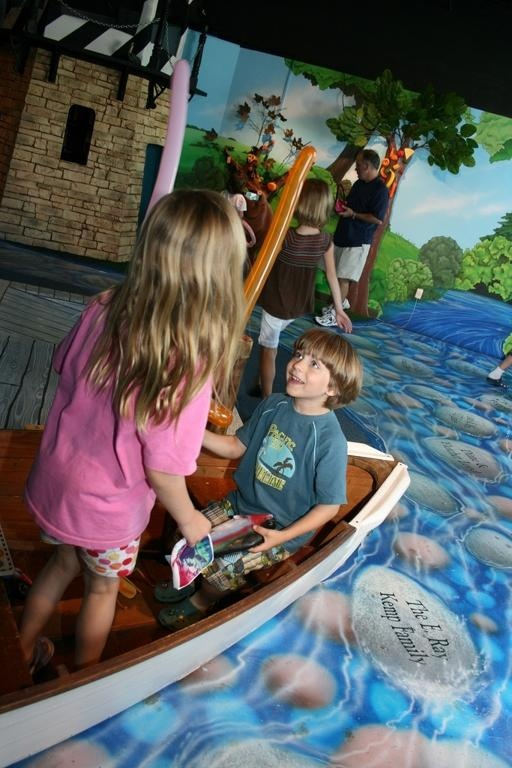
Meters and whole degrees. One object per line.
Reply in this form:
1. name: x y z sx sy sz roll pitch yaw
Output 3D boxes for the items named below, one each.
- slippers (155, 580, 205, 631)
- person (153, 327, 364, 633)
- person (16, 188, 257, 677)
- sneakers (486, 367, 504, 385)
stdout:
1. slippers: -0.226 0.647 1.483 0.072 0.040 0.125 28 18 -5
2. person: -0.049 0.305 1.545 0.573 0.969 0.465 11 19 -21
3. person: -0.283 0.173 0.973 0.374 1.089 0.245 17 11 18
4. sneakers: 2.907 -0.103 6.171 0.278 0.155 0.137 5 13 -37
